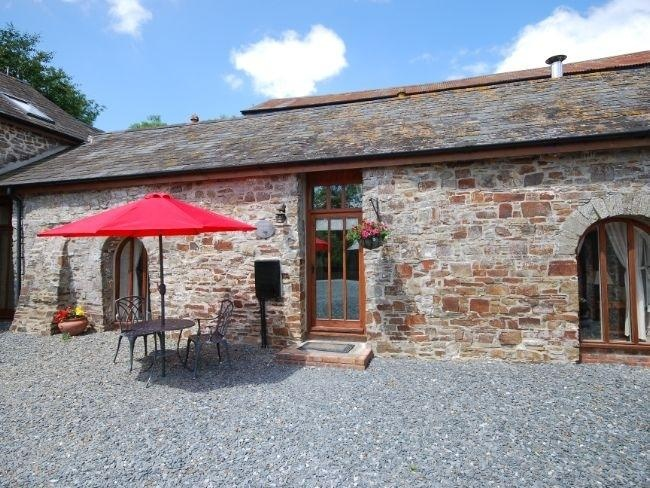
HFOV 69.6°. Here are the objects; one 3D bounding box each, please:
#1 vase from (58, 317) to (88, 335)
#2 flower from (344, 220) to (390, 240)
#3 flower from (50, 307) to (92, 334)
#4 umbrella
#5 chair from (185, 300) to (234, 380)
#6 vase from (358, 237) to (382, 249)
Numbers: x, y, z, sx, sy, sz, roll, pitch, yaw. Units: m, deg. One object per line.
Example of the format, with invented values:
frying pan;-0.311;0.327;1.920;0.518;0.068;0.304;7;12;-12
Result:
vase;-5.570;1.828;10.333;0.509;0.247;0.428;-1;-6;-6
flower;0.782;-0.261;8.811;0.516;0.284;0.510;2;4;31
flower;-5.644;1.771;10.526;0.578;0.363;0.603;15;17;41
umbrella;-3.223;0.425;8.825;3.655;2.670;3.595;0;1;34
chair;-2.087;1.618;8.366;0.825;1.078;0.703;-3;3;-24
vase;0.867;-0.029;8.817;0.293;0.173;0.267;-2;1;-10
